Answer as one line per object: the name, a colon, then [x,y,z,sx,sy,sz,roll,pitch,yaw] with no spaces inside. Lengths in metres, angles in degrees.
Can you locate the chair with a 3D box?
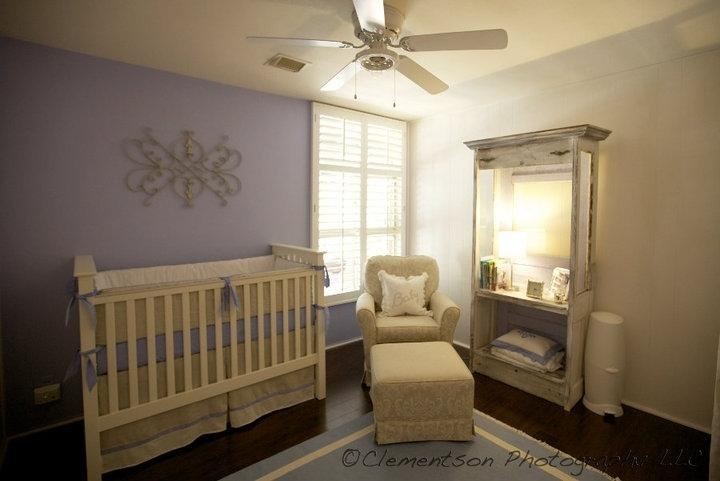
chair: [0.425,0.809,5.294,1.229,1.348,1.175,1,-12,-2]

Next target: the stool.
stool: [0.498,1.239,4.062,0.762,0.479,0.738,-1,3,-6]

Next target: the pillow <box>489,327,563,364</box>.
pillow: [1.579,1.009,4.830,0.335,0.090,0.338,-14,9,-34]

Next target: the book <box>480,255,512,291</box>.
book: [1.353,0.344,5.035,0.366,0.343,0.204,1,0,-20]

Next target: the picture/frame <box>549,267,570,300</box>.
picture/frame: [1.847,0.407,4.658,0.092,0.263,0.179,8,0,-13]

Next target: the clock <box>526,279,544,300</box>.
clock: [1.649,0.472,4.756,0.107,0.148,0.145,-3,6,-32]

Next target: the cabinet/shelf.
cabinet/shelf: [1.670,0.226,4.842,1.186,2.508,0.564,4,7,40]
